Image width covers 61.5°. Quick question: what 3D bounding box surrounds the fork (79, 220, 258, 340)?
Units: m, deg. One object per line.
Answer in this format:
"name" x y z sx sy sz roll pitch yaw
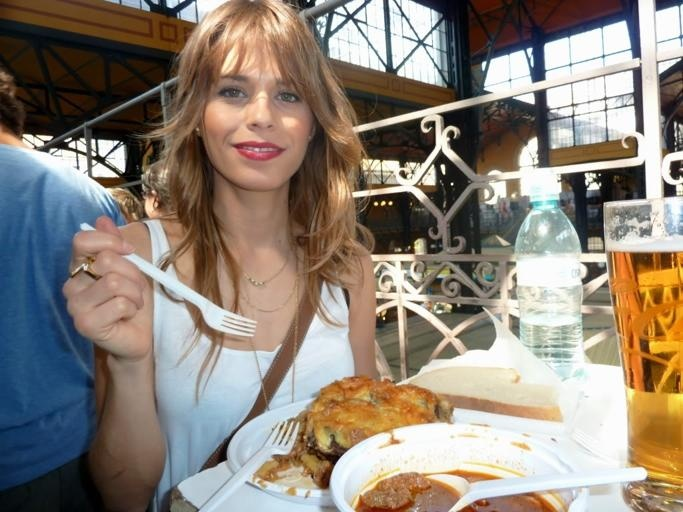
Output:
"fork" -0.636 0.101 2.089 0.661 0.097 0.076 45 -30 -24

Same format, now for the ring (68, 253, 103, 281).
"ring" -0.780 0.039 1.748 0.076 0.077 0.027 36 5 24

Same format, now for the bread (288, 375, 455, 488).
"bread" 0.084 0.469 1.657 0.338 0.123 0.268 -7 19 -17
